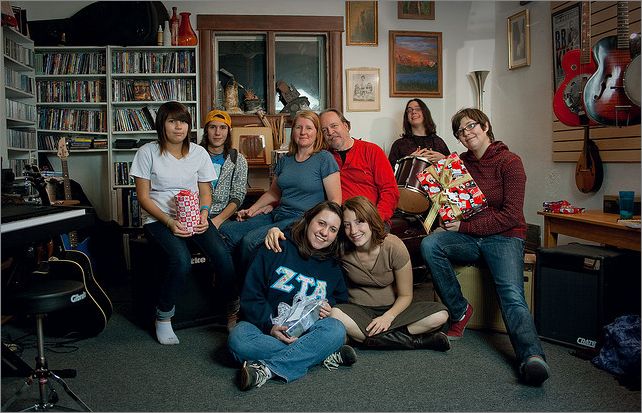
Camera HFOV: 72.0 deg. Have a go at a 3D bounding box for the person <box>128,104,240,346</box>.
[{"bbox_3d":[-1.045,0.096,3.373,0.683,1.756,0.534,-6,12,-23],"label":"person"}]

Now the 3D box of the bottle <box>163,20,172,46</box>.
[{"bbox_3d":[-1.771,-2.002,5.106,0.097,0.285,0.095,-1,11,0],"label":"bottle"}]

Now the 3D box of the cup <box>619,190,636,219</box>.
[{"bbox_3d":[2.196,-0.012,3.155,0.095,0.189,0.215,7,14,34],"label":"cup"}]

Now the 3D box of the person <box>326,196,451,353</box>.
[{"bbox_3d":[0.394,0.446,3.053,0.844,0.966,0.726,-9,1,33],"label":"person"}]

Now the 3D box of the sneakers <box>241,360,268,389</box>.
[{"bbox_3d":[-0.395,1.040,2.716,0.190,0.167,0.116,-4,12,-17],"label":"sneakers"}]

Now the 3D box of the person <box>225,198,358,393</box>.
[{"bbox_3d":[-0.166,0.550,2.876,0.773,1.080,0.948,14,0,22],"label":"person"}]

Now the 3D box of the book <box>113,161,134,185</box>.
[{"bbox_3d":[-2.238,-0.377,5.012,0.208,0.275,0.283,0,2,1],"label":"book"}]

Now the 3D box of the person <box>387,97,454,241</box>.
[{"bbox_3d":[1.107,-0.601,5.102,0.690,1.033,1.131,4,9,19],"label":"person"}]

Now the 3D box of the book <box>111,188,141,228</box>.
[{"bbox_3d":[-2.173,0.031,4.948,0.307,0.428,0.444,0,3,-12],"label":"book"}]

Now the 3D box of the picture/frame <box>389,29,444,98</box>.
[{"bbox_3d":[1.157,-1.797,5.442,0.903,0.985,0.069,0,-1,-7],"label":"picture/frame"}]

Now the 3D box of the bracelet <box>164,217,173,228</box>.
[{"bbox_3d":[-1.126,0.116,3.282,0.025,0.063,0.056,20,28,-27],"label":"bracelet"}]

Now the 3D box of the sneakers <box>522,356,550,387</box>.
[{"bbox_3d":[1.338,1.020,2.733,0.172,0.171,0.124,3,12,19],"label":"sneakers"}]

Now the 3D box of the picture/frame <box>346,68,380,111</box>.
[{"bbox_3d":[0.516,-1.467,5.428,0.533,0.629,0.049,0,-1,-7],"label":"picture/frame"}]

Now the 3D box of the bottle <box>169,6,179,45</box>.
[{"bbox_3d":[-1.708,-2.116,5.178,0.091,0.441,0.212,-3,12,-12],"label":"bottle"}]

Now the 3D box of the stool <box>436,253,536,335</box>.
[{"bbox_3d":[1.319,0.554,3.581,0.770,0.713,0.551,-3,0,28],"label":"stool"}]

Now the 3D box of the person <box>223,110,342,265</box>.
[{"bbox_3d":[-0.345,-0.015,3.563,0.917,1.525,0.777,-3,5,-32],"label":"person"}]

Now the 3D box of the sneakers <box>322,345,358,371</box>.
[{"bbox_3d":[0.136,1.016,2.929,0.294,0.101,0.127,-33,-5,36],"label":"sneakers"}]
